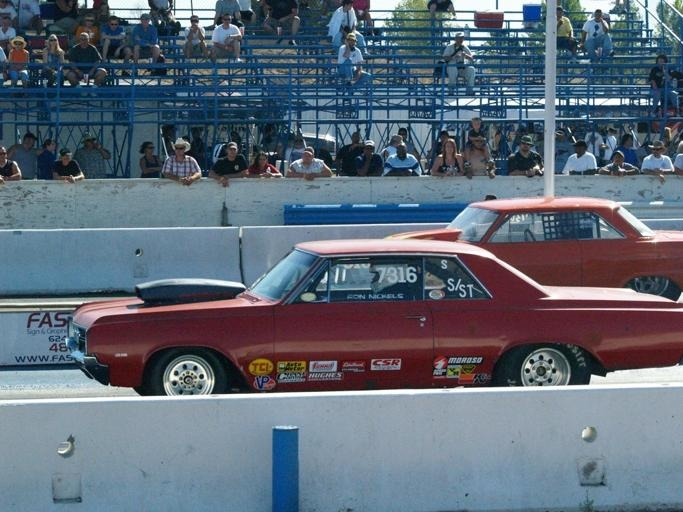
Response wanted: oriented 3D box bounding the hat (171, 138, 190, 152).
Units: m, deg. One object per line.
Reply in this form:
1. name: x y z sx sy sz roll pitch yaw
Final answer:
1. hat: -3.556 -2.587 46.454 0.326 0.170 0.399 -3 -35 -1

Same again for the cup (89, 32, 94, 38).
1. cup: -5.952 -5.391 49.866 0.114 0.129 0.125 -1 8 -12

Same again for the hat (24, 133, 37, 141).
1. hat: -6.944 -2.812 46.799 0.251 0.151 0.196 7 5 4

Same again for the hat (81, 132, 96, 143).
1. hat: -5.743 -2.794 47.436 0.343 0.164 0.467 -15 8 -11

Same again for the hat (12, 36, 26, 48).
1. hat: -7.535 -5.106 48.803 0.318 0.259 0.647 -2 10 -7

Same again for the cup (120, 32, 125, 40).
1. cup: -5.152 -5.320 49.305 0.120 0.159 0.350 -2 10 -4

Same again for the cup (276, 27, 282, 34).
1. cup: -1.523 -5.682 51.600 0.122 0.149 0.240 -11 0 -2

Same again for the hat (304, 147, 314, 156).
1. hat: -0.722 -2.425 46.051 0.165 0.229 0.247 -2 6 1

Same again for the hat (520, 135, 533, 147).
1. hat: 4.084 -2.659 46.240 0.250 0.206 0.503 -2 10 -3

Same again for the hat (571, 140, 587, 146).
1. hat: 5.305 -2.603 46.218 0.175 0.109 0.140 7 -2 -6

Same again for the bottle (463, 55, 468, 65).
1. bottle: 2.957 -4.762 49.657 0.096 0.158 0.044 10 1 30

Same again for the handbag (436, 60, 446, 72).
1. handbag: 2.346 -4.611 49.582 0.262 0.291 0.232 16 15 37

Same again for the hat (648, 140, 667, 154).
1. hat: 7.084 -2.561 47.017 0.341 0.143 0.411 2 -8 4

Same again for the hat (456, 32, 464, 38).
1. hat: 2.821 -5.399 49.769 0.217 0.143 0.365 -3 5 -2

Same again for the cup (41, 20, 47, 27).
1. cup: -7.385 -5.895 52.102 0.165 0.194 0.242 2 -3 -10

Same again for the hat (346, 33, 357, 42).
1. hat: 0.219 -5.205 48.508 0.175 0.176 0.214 -1 4 4
